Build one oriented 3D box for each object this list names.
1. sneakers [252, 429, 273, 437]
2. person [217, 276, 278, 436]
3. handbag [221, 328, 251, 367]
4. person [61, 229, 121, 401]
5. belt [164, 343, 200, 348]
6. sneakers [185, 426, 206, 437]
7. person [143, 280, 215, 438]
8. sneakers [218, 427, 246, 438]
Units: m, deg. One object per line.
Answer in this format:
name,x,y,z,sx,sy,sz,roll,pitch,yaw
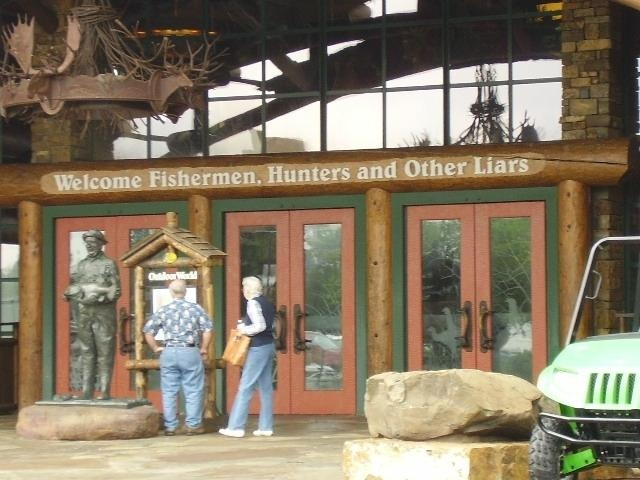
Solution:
sneakers,-0.789,2.543,23.093,0.257,0.078,0.087,3,-6,4
person,-0.951,1.533,23.005,0.700,2.100,0.506,-3,-5,-1
handbag,-1.122,1.399,22.845,0.374,0.467,0.169,-2,-5,-9
person,-3.139,1.008,23.779,0.766,2.289,0.486,-3,-5,-5
belt,-1.861,1.376,23.047,0.442,0.074,0.151,-1,-4,-12
sneakers,-1.686,2.520,23.164,0.265,0.085,0.102,-2,3,-40
person,-1.902,1.536,23.133,0.906,2.040,0.405,-3,-5,-5
sneakers,-1.175,2.509,22.905,0.359,0.106,0.114,3,-6,17
